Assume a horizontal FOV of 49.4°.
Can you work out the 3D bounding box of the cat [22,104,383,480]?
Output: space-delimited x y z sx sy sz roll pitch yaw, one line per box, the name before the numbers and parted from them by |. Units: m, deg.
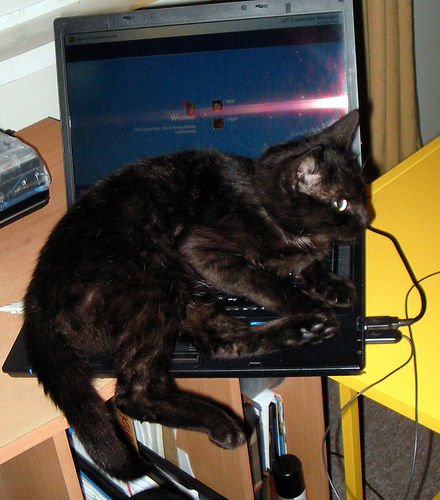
cat | 0.011 0.011 0.744 0.607 0.262 0.422 -25 41 -30
